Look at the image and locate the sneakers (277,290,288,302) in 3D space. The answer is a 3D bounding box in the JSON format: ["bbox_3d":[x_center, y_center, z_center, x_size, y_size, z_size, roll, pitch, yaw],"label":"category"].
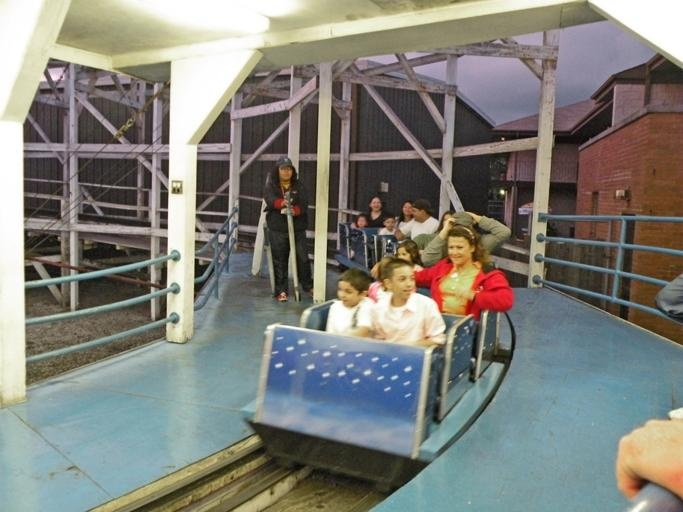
[{"bbox_3d":[-0.910,0.598,7.697,0.175,0.118,0.279,-1,-2,-21],"label":"sneakers"}]

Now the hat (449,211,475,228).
[{"bbox_3d":[1.321,-0.416,5.580,0.360,0.180,0.509,2,4,10],"label":"hat"}]

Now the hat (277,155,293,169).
[{"bbox_3d":[-0.852,-1.408,7.408,0.181,0.110,0.249,-4,4,-10],"label":"hat"}]

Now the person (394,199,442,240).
[{"bbox_3d":[1.186,-0.596,7.927,0.636,0.749,0.930,1,18,-1],"label":"person"}]

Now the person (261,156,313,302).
[{"bbox_3d":[-0.809,-0.394,7.564,0.698,2.167,0.598,-1,9,-10],"label":"person"}]

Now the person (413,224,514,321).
[{"bbox_3d":[1.045,0.209,4.719,1.084,0.961,0.628,12,25,41],"label":"person"}]
